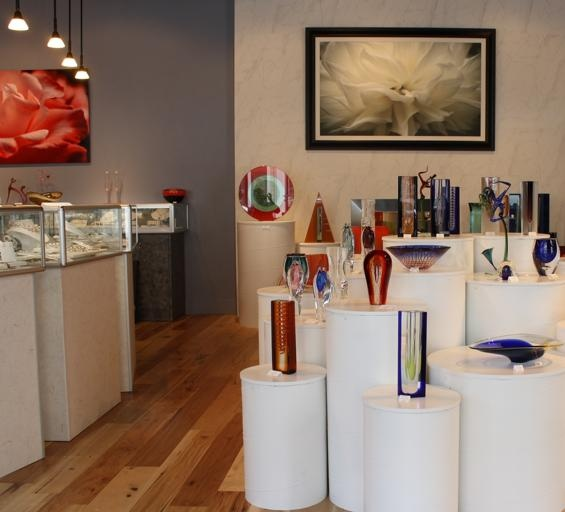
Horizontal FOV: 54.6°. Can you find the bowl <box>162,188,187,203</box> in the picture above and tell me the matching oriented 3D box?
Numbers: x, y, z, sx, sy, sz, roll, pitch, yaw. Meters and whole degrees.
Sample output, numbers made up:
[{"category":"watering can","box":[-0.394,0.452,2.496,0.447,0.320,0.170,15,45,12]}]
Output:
[{"category":"bowl","box":[-1.194,-0.679,6.026,0.268,0.165,0.223,-3,5,-11]}]

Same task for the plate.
[{"category":"plate","box":[0.928,0.354,2.154,0.160,0.057,0.174,-8,3,14]}]

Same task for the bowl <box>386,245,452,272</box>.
[{"category":"bowl","box":[0.634,0.004,2.562,0.261,0.117,0.156,0,5,19]}]
